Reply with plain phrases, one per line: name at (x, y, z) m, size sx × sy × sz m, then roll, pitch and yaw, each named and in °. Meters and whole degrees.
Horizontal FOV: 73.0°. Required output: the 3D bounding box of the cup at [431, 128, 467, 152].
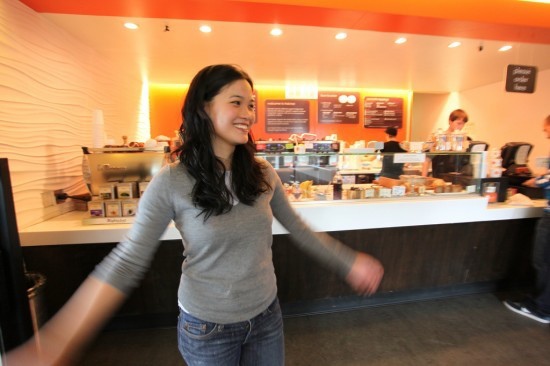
cup at (1.768, -0.424, 3.732) m, size 0.230 × 0.134 × 0.351 m, roll 2°, pitch 4°, yaw 17°

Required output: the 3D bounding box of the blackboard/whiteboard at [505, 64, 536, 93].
blackboard/whiteboard at (2.394, -1.010, 3.665) m, size 0.337 × 0.267 × 0.073 m, roll 2°, pitch 13°, yaw -10°

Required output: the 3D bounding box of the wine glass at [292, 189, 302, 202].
wine glass at (0.209, 0.122, 3.541) m, size 0.116 × 0.108 × 0.104 m, roll -2°, pitch 11°, yaw -1°
